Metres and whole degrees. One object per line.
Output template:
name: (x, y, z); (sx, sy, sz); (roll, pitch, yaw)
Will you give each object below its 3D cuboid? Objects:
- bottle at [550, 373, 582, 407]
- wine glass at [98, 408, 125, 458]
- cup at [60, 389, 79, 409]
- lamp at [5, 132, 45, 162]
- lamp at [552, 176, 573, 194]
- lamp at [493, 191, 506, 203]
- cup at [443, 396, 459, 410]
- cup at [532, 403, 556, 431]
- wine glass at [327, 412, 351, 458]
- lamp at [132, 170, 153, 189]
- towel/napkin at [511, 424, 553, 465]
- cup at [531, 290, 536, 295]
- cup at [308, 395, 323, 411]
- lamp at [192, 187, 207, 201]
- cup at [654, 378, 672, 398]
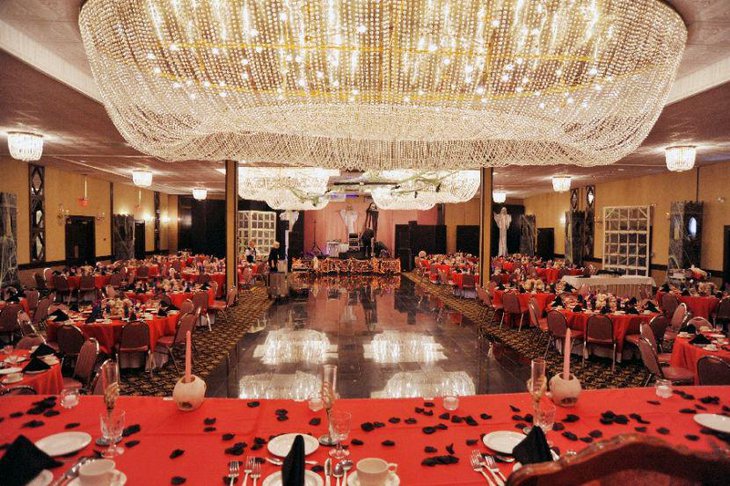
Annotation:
bottle: (1.853, 1.345, 4.702); (0.273, 0.292, 0.289); (-3, 9, 7)
wine glass: (-2.064, 1.540, 4.167); (0.157, 0.338, 0.263); (-2, 5, -30)
cup: (-2.677, 1.400, 4.637); (0.162, 0.178, 0.172); (-1, -5, 0)
lamp: (-6.597, -1.850, 9.911); (0.673, 0.781, 0.678); (2, -1, -35)
lamp: (5.830, -1.745, 14.959); (0.666, 0.562, 0.701); (3, 1, 5)
lamp: (4.708, -1.667, 17.861); (0.381, 0.333, 0.636); (1, 5, 13)
cup: (0.789, 1.446, 4.638); (0.113, 0.091, 0.113); (-1, -3, 0)
cup: (1.501, 1.414, 4.242); (0.209, 0.259, 0.230); (-2, -6, 27)
wine glass: (-0.185, 1.562, 4.156); (0.262, 0.435, 0.286); (0, -3, -2)
lamp: (-6.349, -1.862, 14.511); (0.613, 0.468, 0.630); (1, -2, -23)
towel/napkin: (1.295, 1.514, 3.980); (0.282, 0.279, 0.291); (-10, 26, 13)
cup: (3.447, 1.001, 10.356); (0.074, 0.055, 0.072); (1, 3, 0)
cup: (-0.439, 1.445, 4.604); (0.120, 0.133, 0.125); (-1, -3, 0)
lamp: (-5.590, -1.720, 17.255); (0.400, 0.351, 0.900); (-2, 5, -24)
cup: (2.873, 1.394, 4.887); (0.146, 0.153, 0.154); (1, -6, 0)
